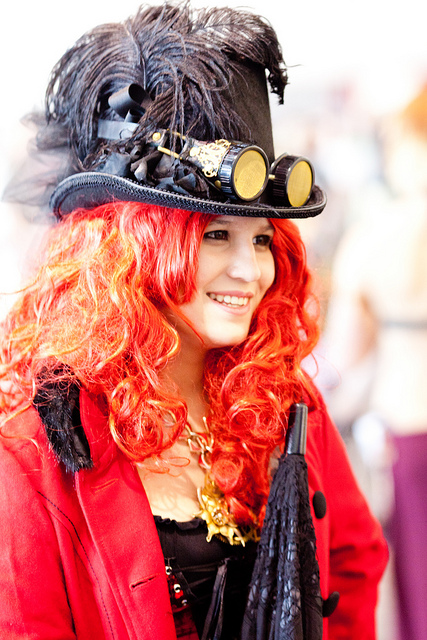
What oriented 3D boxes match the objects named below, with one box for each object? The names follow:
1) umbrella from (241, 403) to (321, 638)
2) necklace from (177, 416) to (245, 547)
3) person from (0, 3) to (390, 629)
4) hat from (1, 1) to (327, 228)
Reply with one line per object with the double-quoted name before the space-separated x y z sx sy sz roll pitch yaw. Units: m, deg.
"umbrella" 0.125 0.324 1.052 0.113 0.235 0.201 -1 -1 27
"necklace" -0.016 0.305 1.183 0.135 0.191 0.021 -4 -31 -41
"person" -0.081 -0.026 1.156 0.642 1.113 0.481 -1 -1 -7
"hat" -0.102 -0.324 1.264 0.500 0.295 0.496 3 2 39
